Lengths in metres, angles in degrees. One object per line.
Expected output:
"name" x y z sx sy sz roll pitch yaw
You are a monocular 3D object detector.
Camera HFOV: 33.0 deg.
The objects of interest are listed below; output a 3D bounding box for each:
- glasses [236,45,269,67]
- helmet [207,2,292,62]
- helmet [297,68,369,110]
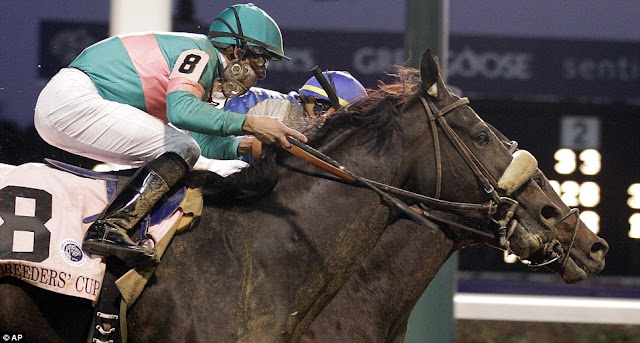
"glasses" -0.558 -0.964 9.028 0.222 0.076 0.159 21 3 -5
"helmet" -0.588 -1.169 9.008 0.664 0.324 0.421 7 1 -2
"helmet" 0.138 -0.776 9.770 0.570 0.282 0.357 22 0 -3
